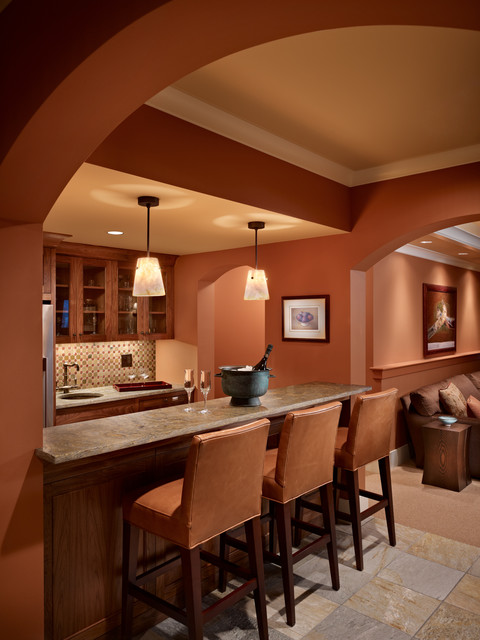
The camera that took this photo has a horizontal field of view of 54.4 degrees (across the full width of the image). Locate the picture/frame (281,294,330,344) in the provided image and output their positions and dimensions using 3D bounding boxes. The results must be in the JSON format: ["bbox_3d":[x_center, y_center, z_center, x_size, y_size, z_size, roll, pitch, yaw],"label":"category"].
[{"bbox_3d":[0.576,-0.008,3.971,0.373,0.368,0.030,1,0,43],"label":"picture/frame"}]

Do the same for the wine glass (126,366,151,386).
[{"bbox_3d":[-1.108,0.616,5.315,0.140,0.168,0.405,-1,-4,26],"label":"wine glass"}]

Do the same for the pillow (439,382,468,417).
[{"bbox_3d":[2.372,0.900,5.209,0.096,0.219,0.274,-42,-17,32],"label":"pillow"}]

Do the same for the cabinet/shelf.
[{"bbox_3d":[-1.256,-0.200,4.616,1.315,0.908,0.227,1,5,-2],"label":"cabinet/shelf"}]

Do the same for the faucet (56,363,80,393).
[{"bbox_3d":[-1.689,0.576,4.633,0.218,0.326,0.301,-7,-8,35],"label":"faucet"}]
